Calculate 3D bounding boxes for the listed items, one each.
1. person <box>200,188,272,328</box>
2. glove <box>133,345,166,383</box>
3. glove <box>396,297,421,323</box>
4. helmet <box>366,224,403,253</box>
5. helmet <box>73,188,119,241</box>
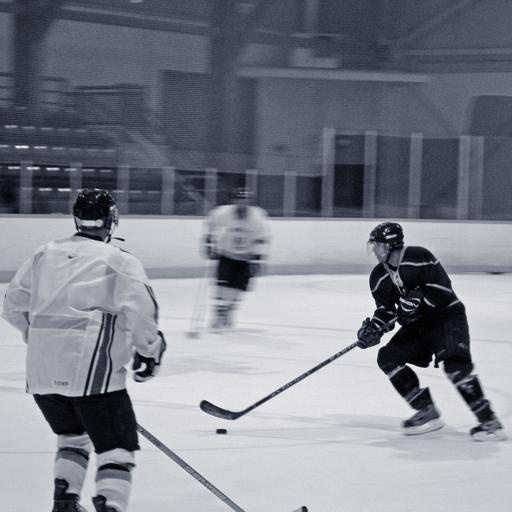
[{"bbox_3d":[-0.151,0.079,8.475,0.493,0.914,0.524,1,8,-2],"label":"person"},{"bbox_3d":[-0.472,0.487,5.074,0.161,0.160,0.076,13,-4,5],"label":"glove"},{"bbox_3d":[0.820,0.290,6.004,0.124,0.119,0.165,1,11,36],"label":"glove"},{"bbox_3d":[0.724,-0.104,6.153,0.215,0.120,0.136,6,-4,5],"label":"helmet"},{"bbox_3d":[-0.716,-0.190,5.062,0.250,0.227,0.257,3,4,-2],"label":"helmet"}]
